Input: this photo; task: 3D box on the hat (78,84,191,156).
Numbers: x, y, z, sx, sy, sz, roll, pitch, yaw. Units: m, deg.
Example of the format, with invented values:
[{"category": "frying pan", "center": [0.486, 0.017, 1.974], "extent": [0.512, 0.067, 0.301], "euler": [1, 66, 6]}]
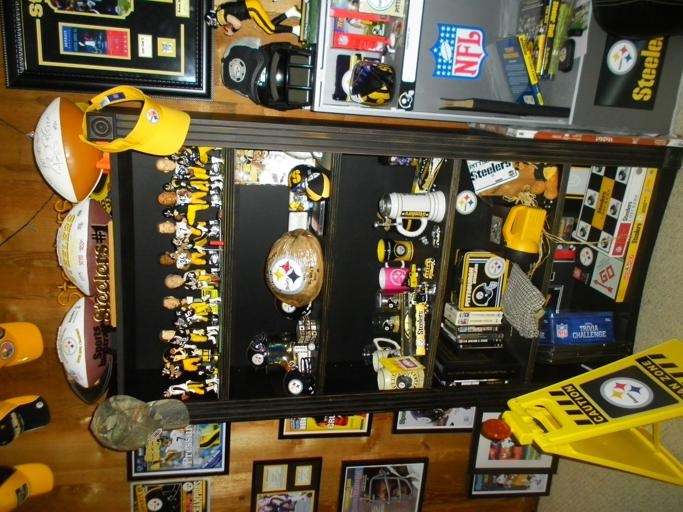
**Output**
[{"category": "hat", "center": [-0.800, -0.532, 2.221], "extent": [0.409, 0.236, 0.152], "euler": [5, -18, -2]}]

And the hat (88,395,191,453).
[{"category": "hat", "center": [-0.922, 0.764, 2.588], "extent": [0.444, 0.241, 0.222], "euler": [-8, -18, -12]}]

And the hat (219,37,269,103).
[{"category": "hat", "center": [-0.448, -0.861, 2.593], "extent": [0.245, 0.312, 0.089], "euler": [-3, -6, 23]}]
